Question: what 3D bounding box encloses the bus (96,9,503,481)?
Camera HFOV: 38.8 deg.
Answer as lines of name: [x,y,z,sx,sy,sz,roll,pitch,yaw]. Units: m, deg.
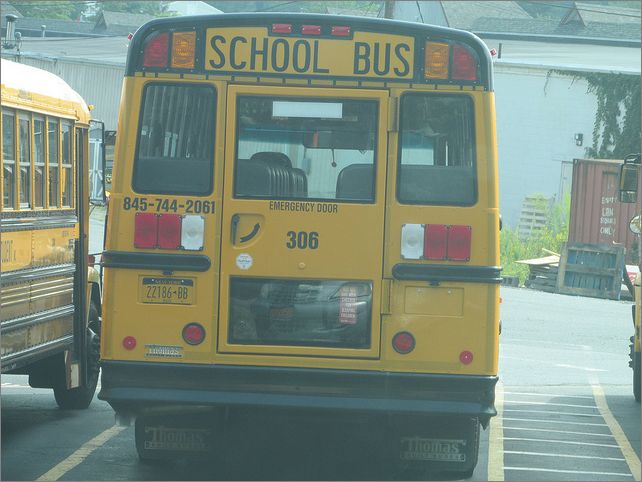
bus: [0.040,-0.053,9.579,2.487,2.732,4.316,0,-1,3]
